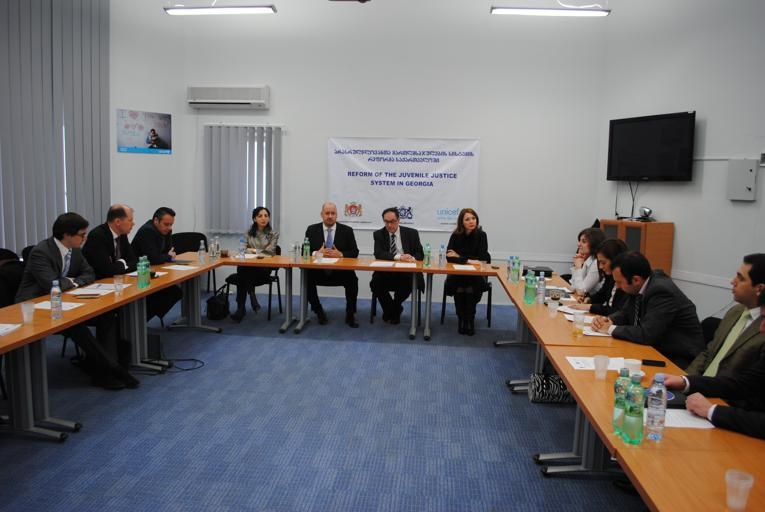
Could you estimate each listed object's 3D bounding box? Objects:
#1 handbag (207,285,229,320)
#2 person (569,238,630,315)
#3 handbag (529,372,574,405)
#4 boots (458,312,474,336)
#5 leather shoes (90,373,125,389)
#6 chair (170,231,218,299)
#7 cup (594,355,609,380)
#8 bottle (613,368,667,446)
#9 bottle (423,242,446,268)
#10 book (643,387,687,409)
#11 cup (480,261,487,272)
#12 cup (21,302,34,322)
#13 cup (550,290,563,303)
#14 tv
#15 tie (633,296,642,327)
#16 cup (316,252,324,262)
[{"bbox_3d":[-2.155,0.625,7.213,0.246,0.459,0.328,-1,0,3],"label":"handbag"},{"bbox_3d":[2.288,0.184,5.363,0.757,0.691,0.513,-1,-3,22],"label":"person"},{"bbox_3d":[1.550,1.254,4.997,0.313,0.232,0.323,1,-1,-1],"label":"handbag"},{"bbox_3d":[1.062,0.888,6.825,0.160,0.273,0.274,0,-6,0],"label":"boots"},{"bbox_3d":[-2.634,1.218,5.203,0.373,0.157,0.122,0,5,10],"label":"leather shoes"},{"bbox_3d":[-2.632,0.055,7.526,0.600,0.874,0.613,-12,-5,30],"label":"chair"},{"bbox_3d":[1.487,0.765,3.647,0.131,0.162,0.138,-3,-1,0],"label":"cup"},{"bbox_3d":[1.504,0.881,3.146,0.274,0.348,0.335,8,16,24],"label":"bottle"},{"bbox_3d":[0.710,-0.023,7.286,0.345,0.343,0.124,0,1,1],"label":"bottle"},{"bbox_3d":[1.857,0.936,3.509,0.232,0.061,0.247,0,2,44],"label":"book"},{"bbox_3d":[1.297,0.136,6.885,0.118,0.138,0.126,1,0,0],"label":"cup"},{"bbox_3d":[-2.771,0.444,4.175,0.092,0.150,0.092,1,15,0],"label":"cup"},{"bbox_3d":[1.758,0.401,5.423,0.138,0.138,0.143,0,6,0],"label":"cup"},{"bbox_3d":[3.640,-1.481,7.170,0.956,0.805,0.073,7,9,44],"label":"tv"},{"bbox_3d":[2.182,0.475,4.585,0.062,0.200,0.144,3,23,22],"label":"tie"},{"bbox_3d":[-0.809,0.012,6.907,0.106,0.177,0.110,-1,-2,0],"label":"cup"}]
